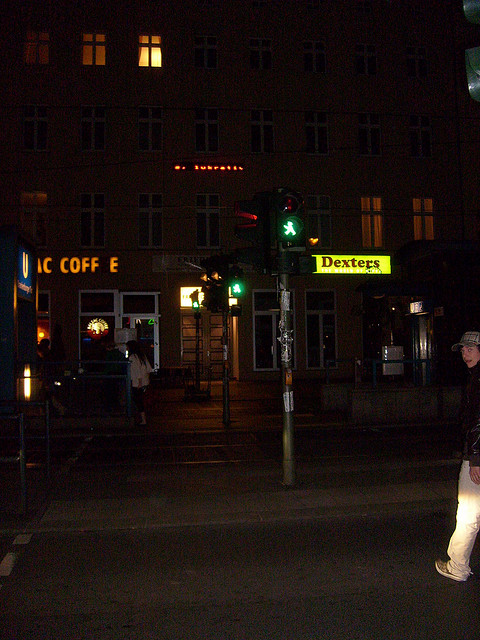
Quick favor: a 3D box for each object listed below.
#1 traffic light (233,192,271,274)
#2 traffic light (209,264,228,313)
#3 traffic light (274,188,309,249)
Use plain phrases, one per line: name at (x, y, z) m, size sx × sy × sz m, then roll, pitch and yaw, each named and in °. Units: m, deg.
traffic light at (0.182, -1.019, 10.488) m, size 0.484 × 1.311 × 0.260 m, roll 0°, pitch -34°, yaw 0°
traffic light at (-0.404, -0.592, 15.559) m, size 0.518 × 0.907 × 0.303 m, roll -1°, pitch 0°, yaw 41°
traffic light at (0.632, -1.247, 10.038) m, size 0.382 × 0.725 × 0.434 m, roll -1°, pitch 0°, yaw -3°
